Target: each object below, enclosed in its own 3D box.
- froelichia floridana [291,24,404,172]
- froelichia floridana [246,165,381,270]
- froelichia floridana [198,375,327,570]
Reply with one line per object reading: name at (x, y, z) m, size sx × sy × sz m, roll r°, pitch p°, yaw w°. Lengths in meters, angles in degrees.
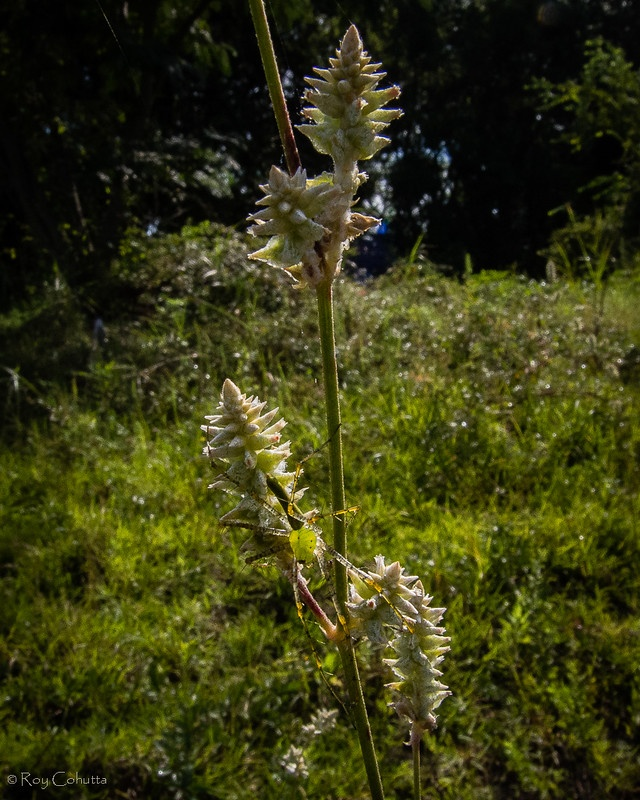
froelichia floridana at (0.038, -0.442, 1.448) m, size 0.148 × 0.189 × 0.063 m, roll -6°, pitch 17°, yaw 7°
froelichia floridana at (-0.026, -0.253, 1.475) m, size 0.161 × 0.102 × 0.147 m, roll 17°, pitch 66°, yaw 30°
froelichia floridana at (-0.095, 0.123, 1.588) m, size 0.166 × 0.365 × 0.203 m, roll -10°, pitch 17°, yaw -4°
